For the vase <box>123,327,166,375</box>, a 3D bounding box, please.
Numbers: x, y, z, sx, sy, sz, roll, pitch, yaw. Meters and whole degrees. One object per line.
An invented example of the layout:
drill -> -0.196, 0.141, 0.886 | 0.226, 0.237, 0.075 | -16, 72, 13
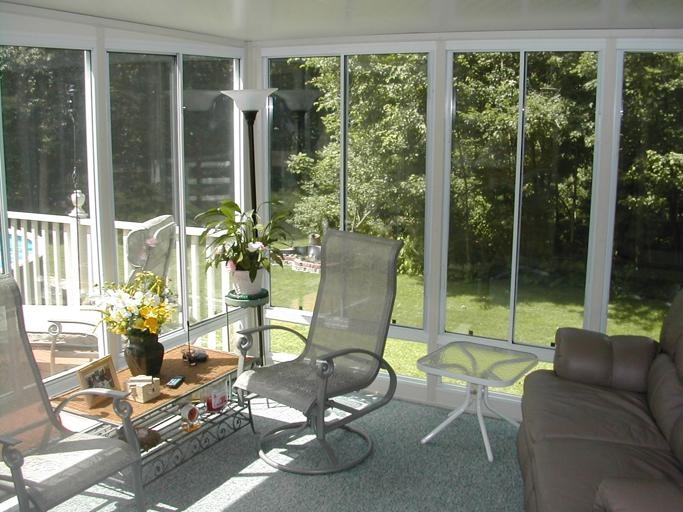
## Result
vase -> -1.265, 0.616, 3.854 | 0.293, 0.403, 0.289 | 0, -2, 0

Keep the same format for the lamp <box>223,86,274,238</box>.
lamp -> -0.715, -0.800, 4.671 | 0.385, 1.098, 0.641 | -2, 9, -8

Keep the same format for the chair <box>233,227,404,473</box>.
chair -> -0.155, 0.608, 3.937 | 1.164, 1.365, 1.159 | -2, 9, 1

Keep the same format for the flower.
flower -> -1.390, 0.319, 3.956 | 0.508, 0.328, 0.492 | -2, -10, -19

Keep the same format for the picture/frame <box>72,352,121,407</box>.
picture/frame -> -1.532, 0.766, 3.619 | 0.018, 0.224, 0.247 | -14, 8, 26

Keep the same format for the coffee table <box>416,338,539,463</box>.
coffee table -> 0.947, 0.859, 4.159 | 0.785, 0.632, 0.783 | 9, 15, 34

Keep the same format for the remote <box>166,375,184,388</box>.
remote -> -1.083, 0.815, 3.809 | 0.102, 0.043, 0.112 | -3, 9, -15

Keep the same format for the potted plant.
potted plant -> -0.793, -0.145, 4.728 | 0.798, 0.651, 0.772 | -3, 10, -13
